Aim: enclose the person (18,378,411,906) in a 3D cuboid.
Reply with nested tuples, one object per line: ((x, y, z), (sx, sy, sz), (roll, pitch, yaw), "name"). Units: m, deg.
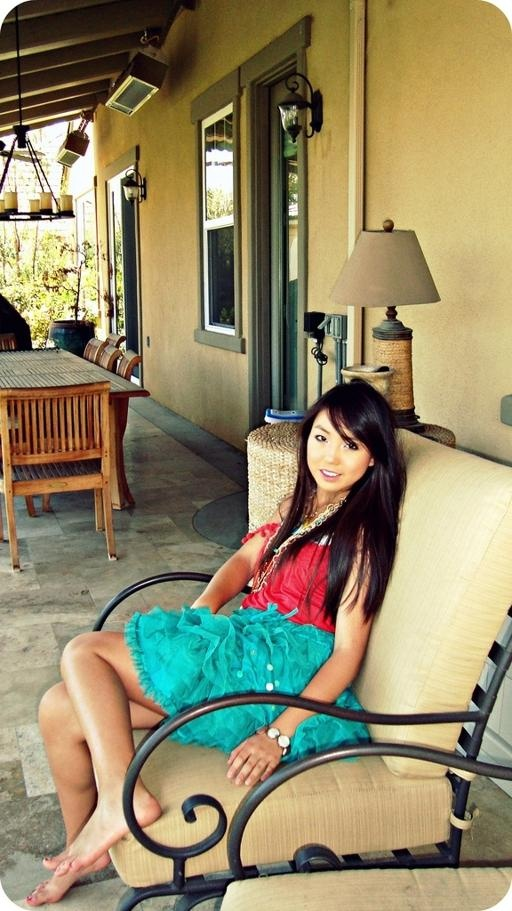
((-0.061, 0.389, 1.254), (0.683, 0.992, 0.497), (-13, 15, -43), "person")

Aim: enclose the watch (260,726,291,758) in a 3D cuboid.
((0.034, 0.454, 1.068), (0.021, 0.039, 0.047), (-35, 36, -20), "watch")
